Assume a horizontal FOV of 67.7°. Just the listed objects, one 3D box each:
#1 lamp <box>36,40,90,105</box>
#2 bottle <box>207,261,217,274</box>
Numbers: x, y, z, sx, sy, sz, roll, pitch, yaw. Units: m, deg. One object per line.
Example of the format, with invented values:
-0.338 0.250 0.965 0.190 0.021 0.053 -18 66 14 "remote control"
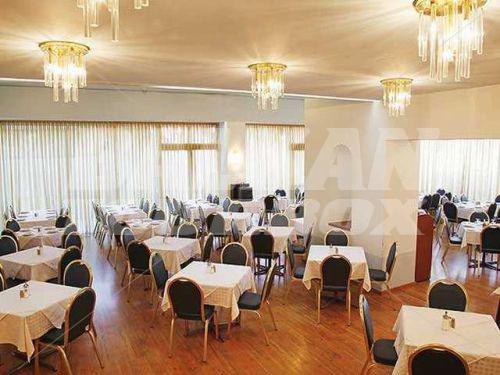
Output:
-2.184 -1.349 4.206 0.554 0.725 0.593 -1 3 -17 "lamp"
-0.601 1.256 5.841 0.140 0.232 0.148 0 -2 0 "bottle"
